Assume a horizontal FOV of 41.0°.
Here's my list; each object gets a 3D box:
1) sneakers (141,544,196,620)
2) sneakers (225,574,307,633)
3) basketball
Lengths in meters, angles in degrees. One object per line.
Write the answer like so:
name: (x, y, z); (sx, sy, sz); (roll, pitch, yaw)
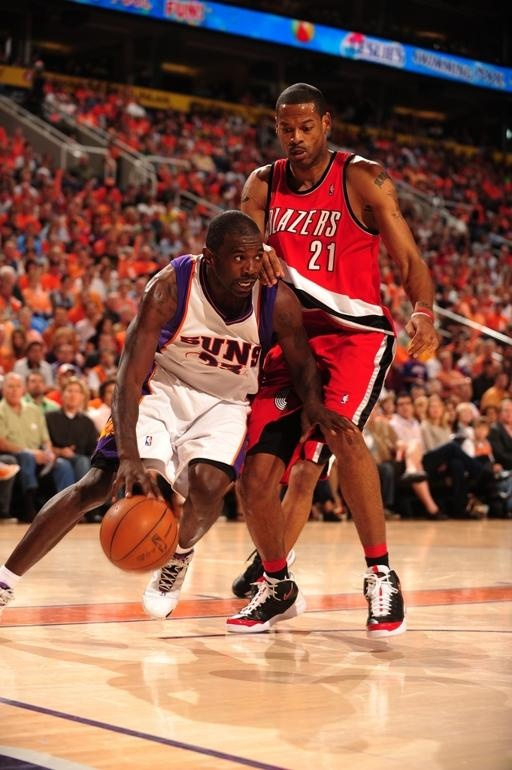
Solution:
sneakers: (-0.257, 0.689, 2.375); (0.112, 0.308, 0.136); (33, -44, -15)
sneakers: (0.026, 0.769, 2.454); (0.122, 0.162, 0.364); (-2, -2, 40)
basketball: (-0.307, 0.394, 1.806); (0.199, 0.202, 0.147); (5, -12, -10)
